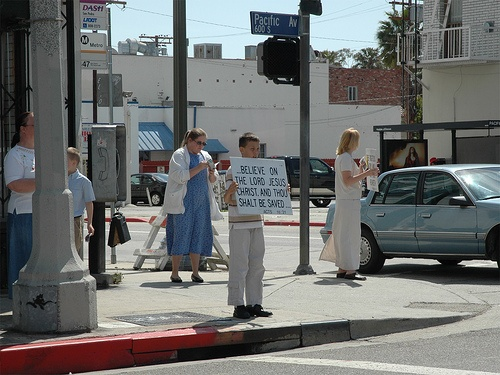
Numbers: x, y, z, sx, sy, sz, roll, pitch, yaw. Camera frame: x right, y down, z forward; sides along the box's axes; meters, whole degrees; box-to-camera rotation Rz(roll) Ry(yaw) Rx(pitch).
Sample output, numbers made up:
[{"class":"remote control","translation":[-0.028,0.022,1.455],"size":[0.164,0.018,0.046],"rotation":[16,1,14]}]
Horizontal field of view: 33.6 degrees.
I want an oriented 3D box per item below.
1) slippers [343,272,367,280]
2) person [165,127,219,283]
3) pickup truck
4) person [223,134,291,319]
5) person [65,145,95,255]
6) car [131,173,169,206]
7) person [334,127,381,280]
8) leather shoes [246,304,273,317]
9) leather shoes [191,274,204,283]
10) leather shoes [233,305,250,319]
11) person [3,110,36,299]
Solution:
[{"class":"slippers","translation":[1.607,1.369,12.823],"size":[0.311,0.123,0.118],"rotation":[0,1,16]},{"class":"person","translation":[-0.863,0.307,12.446],"size":[0.863,2.388,1.036],"rotation":[-2,6,-22]},{"class":"pickup truck","translation":[2.148,-0.326,33.634],"size":[2.841,1.335,1.427],"rotation":[-3,5,-17]},{"class":"person","translation":[-0.054,0.650,9.835],"size":[0.513,1.795,0.408],"rotation":[-4,6,-34]},{"class":"person","translation":[-2.286,0.205,11.326],"size":[0.321,1.528,0.559],"rotation":[0,5,3]},{"class":"car","translation":[-4.374,0.047,36.474],"size":[2.152,1.044,1.236],"rotation":[1,1,14]},{"class":"person","translation":[1.553,0.263,12.807],"size":[0.603,2.333,0.498],"rotation":[1,5,15]},{"class":"leather shoes","translation":[0.127,1.486,9.944],"size":[0.355,0.172,0.124],"rotation":[0,-2,0]},{"class":"leather shoes","translation":[-0.805,1.403,12.670],"size":[0.076,0.088,0.207],"rotation":[2,-5,-44]},{"class":"leather shoes","translation":[-0.103,1.464,9.763],"size":[0.187,0.155,0.206],"rotation":[-1,6,-4]},{"class":"person","translation":[-2.756,0.251,9.971],"size":[0.342,2.318,1.064],"rotation":[-2,6,-16]}]
